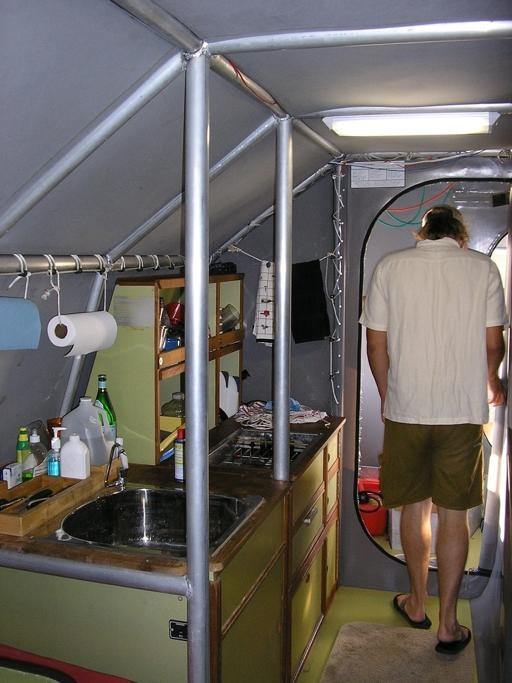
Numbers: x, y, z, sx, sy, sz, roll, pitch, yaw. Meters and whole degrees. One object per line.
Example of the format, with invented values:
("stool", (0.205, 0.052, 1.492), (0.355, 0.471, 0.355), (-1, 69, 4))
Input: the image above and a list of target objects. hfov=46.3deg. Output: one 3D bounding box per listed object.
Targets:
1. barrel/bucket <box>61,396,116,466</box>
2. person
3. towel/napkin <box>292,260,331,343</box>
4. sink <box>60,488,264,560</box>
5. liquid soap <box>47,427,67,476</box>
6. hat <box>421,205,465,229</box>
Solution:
("barrel/bucket", (-0.579, 0.288, 1.900), (0.149, 0.212, 0.131), (15, -4, 0))
("person", (0.732, 0.359, 2.536), (0.582, 1.872, 0.349), (0, 2, 21))
("towel/napkin", (0.284, -0.209, 3.250), (0.036, 0.439, 0.244), (-8, 6, -37))
("sink", (-0.258, 0.587, 1.919), (0.332, 0.148, 0.394), (-8, -25, 20))
("liquid soap", (-0.587, 0.329, 1.767), (0.063, 0.153, 0.049), (-1, 14, -18))
("hat", (0.785, -0.553, 2.547), (0.129, 0.035, 0.138), (15, 41, 26))
